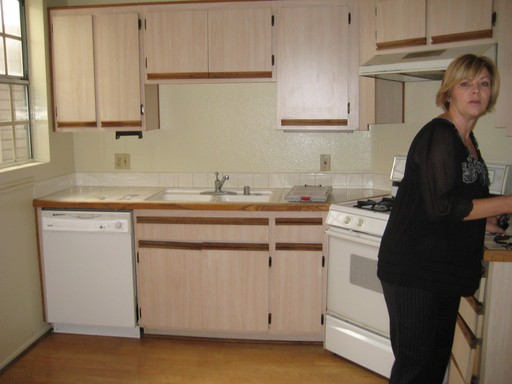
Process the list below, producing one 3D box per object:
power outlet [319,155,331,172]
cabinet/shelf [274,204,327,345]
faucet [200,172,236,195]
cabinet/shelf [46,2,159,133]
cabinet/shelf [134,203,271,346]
[{"bbox_3d":[0.601,-0.251,3.798,0.087,0.146,0.025,0,13,1],"label":"power outlet"},{"bbox_3d":[0.313,0.599,3.234,0.392,0.901,0.153,2,13,12],"label":"cabinet/shelf"},{"bbox_3d":[-0.318,-0.039,3.736,0.274,0.159,0.196,1,-1,-11],"label":"faucet"},{"bbox_3d":[-1.225,-1.020,3.490,1.004,1.198,0.457,0,4,2],"label":"cabinet/shelf"},{"bbox_3d":[-0.397,0.581,3.681,1.486,1.404,0.809,0,3,5],"label":"cabinet/shelf"}]
